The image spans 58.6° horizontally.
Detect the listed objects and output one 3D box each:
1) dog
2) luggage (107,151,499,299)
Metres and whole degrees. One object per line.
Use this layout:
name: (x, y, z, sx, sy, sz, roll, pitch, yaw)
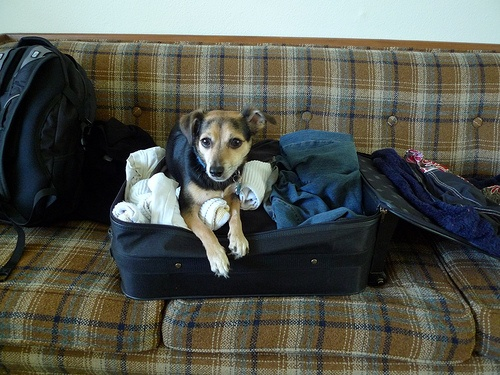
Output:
dog: (-0.210, -0.081, 2.191, 0.355, 0.545, 0.964, -1, 43, -12)
luggage: (0.065, 0.231, 2.020, 1.158, 0.304, 0.716, -2, 39, -2)
